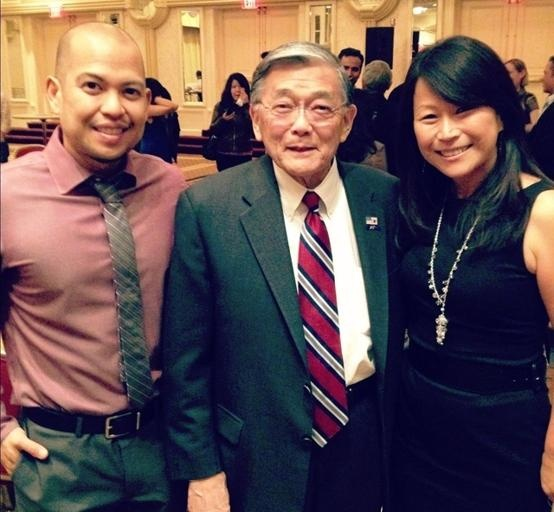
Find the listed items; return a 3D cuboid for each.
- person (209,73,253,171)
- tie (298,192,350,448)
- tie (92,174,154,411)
[{"bbox_3d":[-0.501,-1.384,6.235,0.528,1.469,0.470,5,18,11],"label":"person"},{"bbox_3d":[0.124,0.181,1.539,0.126,0.729,0.219,-3,11,-4],"label":"tie"},{"bbox_3d":[-0.431,0.124,1.474,0.105,0.759,0.081,-7,2,-31],"label":"tie"}]
